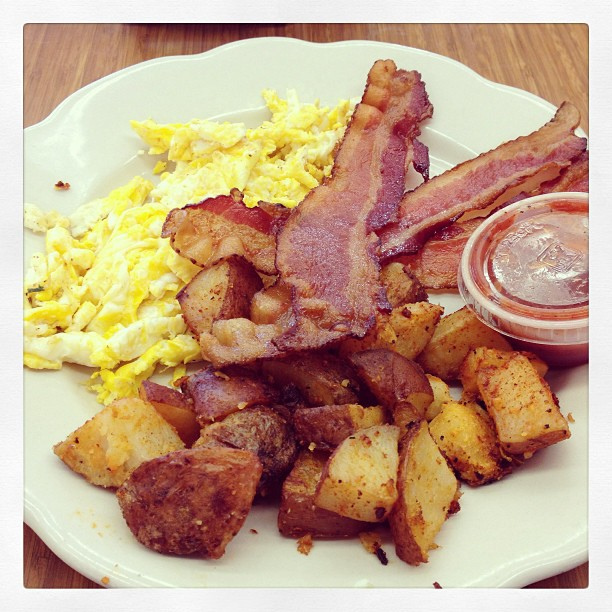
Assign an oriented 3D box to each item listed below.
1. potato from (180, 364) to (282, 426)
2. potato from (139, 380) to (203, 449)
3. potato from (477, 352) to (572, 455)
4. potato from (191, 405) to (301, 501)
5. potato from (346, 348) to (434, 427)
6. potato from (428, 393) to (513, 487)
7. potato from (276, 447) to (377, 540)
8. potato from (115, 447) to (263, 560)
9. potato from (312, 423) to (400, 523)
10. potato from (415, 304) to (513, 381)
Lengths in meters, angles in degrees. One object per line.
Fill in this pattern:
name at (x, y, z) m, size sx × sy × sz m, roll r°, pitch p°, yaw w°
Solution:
potato at (-0.228, 0.260, 2.039) m, size 0.268 × 0.058 × 0.174 m, roll -15°, pitch 48°, yaw -22°
potato at (-0.395, 0.309, 2.048) m, size 0.242 × 0.200 × 0.056 m, roll 17°, pitch 60°, yaw 24°
potato at (0.621, 0.283, 1.984) m, size 0.254 × 0.106 × 0.291 m, roll -21°, pitch 55°, yaw 5°
potato at (-0.193, 0.390, 1.971) m, size 0.135 × 0.356 × 0.248 m, roll 29°, pitch 92°, yaw 46°
potato at (0.249, 0.242, 2.037) m, size 0.267 × 0.084 × 0.197 m, roll -6°, pitch 73°, yaw -16°
potato at (0.472, 0.397, 2.055) m, size 0.256 × 0.090 × 0.248 m, roll -25°, pitch 84°, yaw -12°
potato at (0.011, 0.543, 1.947) m, size 0.356 × 0.084 × 0.253 m, roll 5°, pitch 59°, yaw -9°
potato at (-0.293, 0.518, 1.809) m, size 0.401 × 0.269 × 0.214 m, roll -14°, pitch 50°, yaw -4°
potato at (0.154, 0.440, 1.875) m, size 0.181 × 0.122 × 0.264 m, roll 30°, pitch 73°, yaw 1°
potato at (0.493, 0.120, 2.224) m, size 0.308 × 0.082 × 0.235 m, roll -23°, pitch 77°, yaw 15°
